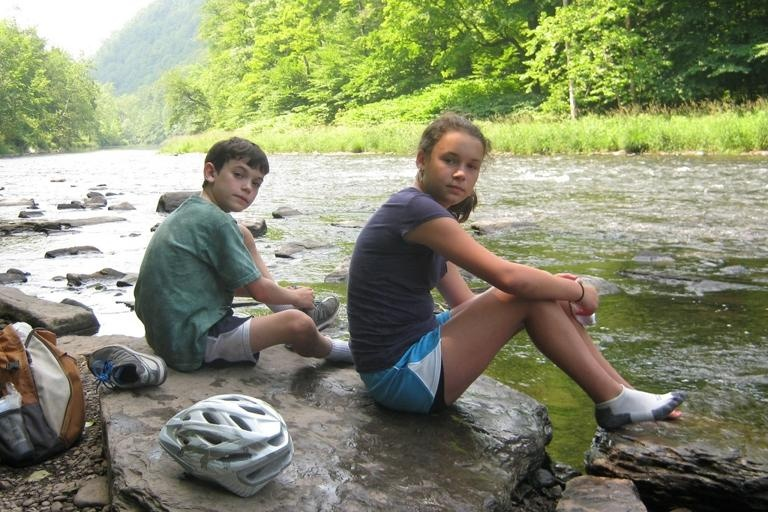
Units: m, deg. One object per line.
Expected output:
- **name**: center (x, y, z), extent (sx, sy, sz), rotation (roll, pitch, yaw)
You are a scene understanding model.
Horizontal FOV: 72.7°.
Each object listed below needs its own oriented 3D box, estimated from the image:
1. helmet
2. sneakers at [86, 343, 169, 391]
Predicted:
- **helmet**: center (-0.806, 0.918, 2.659), extent (0.695, 0.304, 0.489), rotation (13, 13, 21)
- **sneakers**: center (-1.562, 0.672, 3.191), extent (0.549, 0.201, 0.209), rotation (1, 14, 10)
